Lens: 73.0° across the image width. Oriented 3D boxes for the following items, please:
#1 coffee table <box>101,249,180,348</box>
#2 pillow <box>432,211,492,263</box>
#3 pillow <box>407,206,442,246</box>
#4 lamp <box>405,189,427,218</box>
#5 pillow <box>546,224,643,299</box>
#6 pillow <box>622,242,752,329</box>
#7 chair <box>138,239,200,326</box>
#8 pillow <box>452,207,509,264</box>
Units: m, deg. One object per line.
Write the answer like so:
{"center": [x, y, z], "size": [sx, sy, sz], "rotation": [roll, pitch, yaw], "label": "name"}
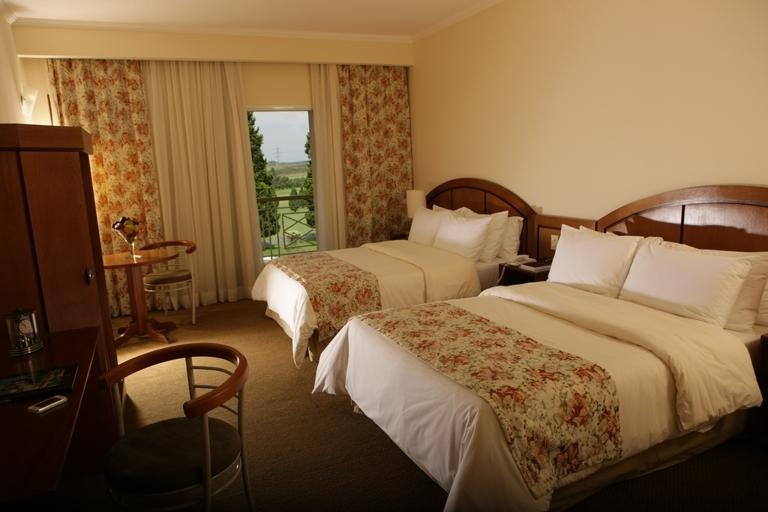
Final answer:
{"center": [-2.709, 0.481, 5.701], "size": [0.804, 0.884, 0.825], "rotation": [-1, 6, 17], "label": "coffee table"}
{"center": [0.862, -0.238, 5.987], "size": [0.279, 0.570, 0.768], "rotation": [-16, 30, -34], "label": "pillow"}
{"center": [0.516, -0.358, 6.428], "size": [0.138, 0.433, 0.454], "rotation": [22, 0, -36], "label": "pillow"}
{"center": [0.451, -0.744, 7.266], "size": [0.347, 0.393, 0.348], "rotation": [-7, 19, -22], "label": "lamp"}
{"center": [1.844, 0.030, 4.523], "size": [0.763, 0.217, 0.834], "rotation": [23, 56, 34], "label": "pillow"}
{"center": [2.258, 0.199, 4.004], "size": [0.806, 0.195, 0.642], "rotation": [17, 47, 43], "label": "pillow"}
{"center": [-2.503, 0.286, 6.122], "size": [0.603, 0.832, 0.710], "rotation": [-10, 13, -39], "label": "chair"}
{"center": [1.119, -0.230, 5.691], "size": [0.566, 0.572, 0.172], "rotation": [6, -9, 39], "label": "pillow"}
